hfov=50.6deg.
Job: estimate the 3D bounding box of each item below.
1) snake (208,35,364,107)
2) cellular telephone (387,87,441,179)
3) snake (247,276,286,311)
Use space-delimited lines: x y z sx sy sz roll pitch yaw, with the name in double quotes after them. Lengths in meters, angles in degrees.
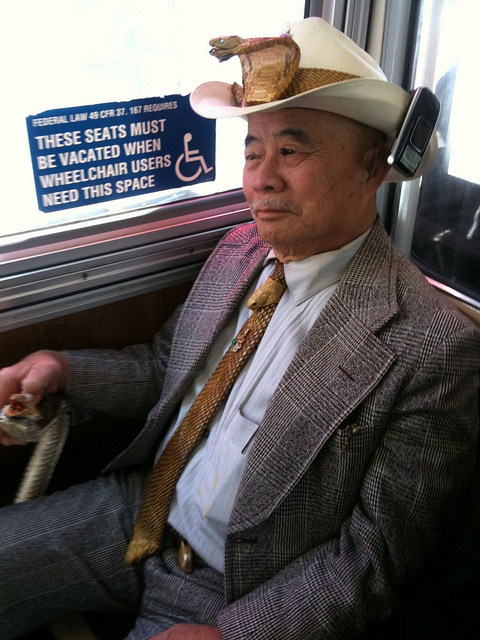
0.067 -0.410 0.846 0.233 0.106 0.127 14 32 22 "snake"
0.295 -0.314 0.853 0.080 0.138 0.025 17 3 -43 "cellular telephone"
0.059 -0.049 1.028 0.073 0.031 0.054 -46 65 -2 "snake"
